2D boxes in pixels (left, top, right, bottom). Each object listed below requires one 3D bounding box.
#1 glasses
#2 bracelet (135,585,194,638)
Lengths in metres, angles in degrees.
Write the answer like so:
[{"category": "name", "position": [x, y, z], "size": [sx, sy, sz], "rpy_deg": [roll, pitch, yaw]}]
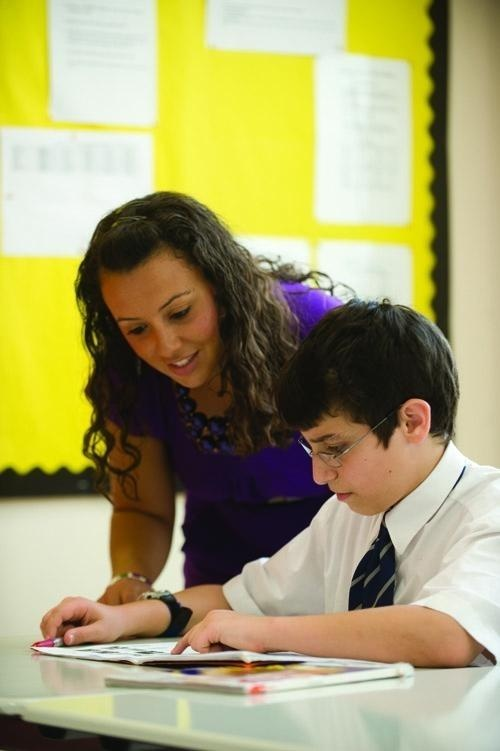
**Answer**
[{"category": "glasses", "position": [0.113, 0.072, 0.871], "size": [0.081, 0.022, 0.075], "rpy_deg": [-34, 10, -12]}, {"category": "bracelet", "position": [-0.119, 0.332, 1.044], "size": [0.052, 0.036, 0.070], "rpy_deg": [7, -33, 40]}]
